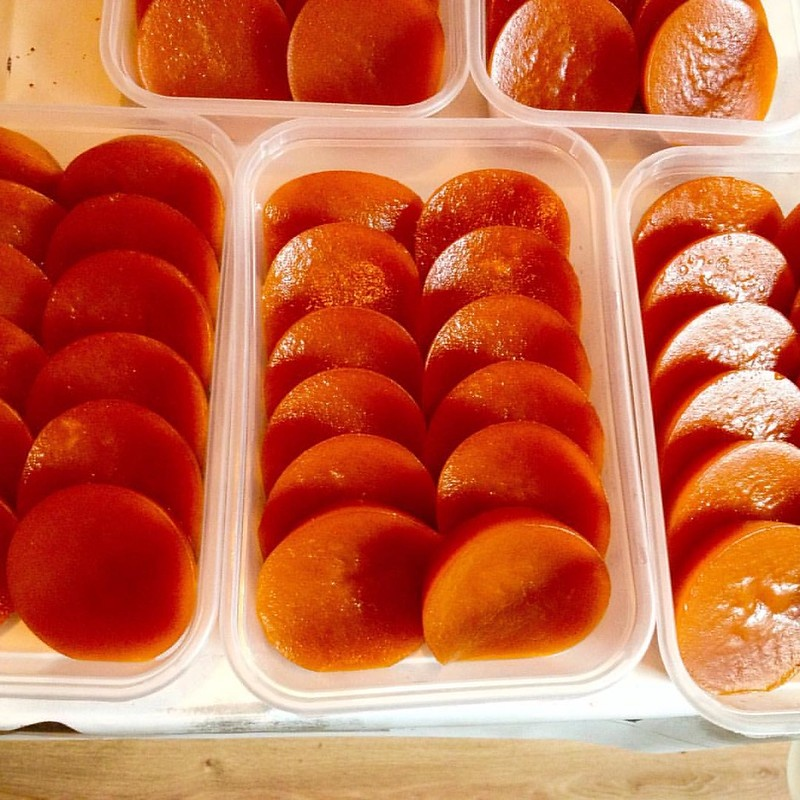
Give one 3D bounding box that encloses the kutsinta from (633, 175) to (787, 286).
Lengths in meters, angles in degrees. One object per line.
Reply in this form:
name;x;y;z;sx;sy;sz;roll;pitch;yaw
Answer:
kutsinta;0.411;-0.234;1.280;0.191;0.187;0.048;-10;73;41
